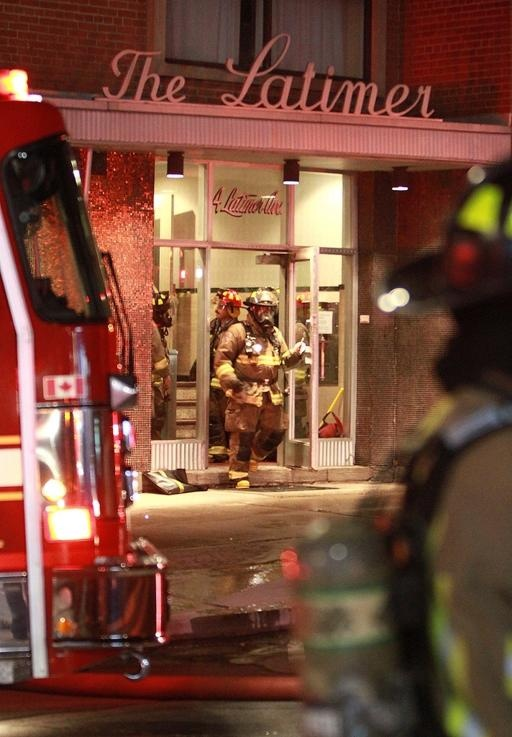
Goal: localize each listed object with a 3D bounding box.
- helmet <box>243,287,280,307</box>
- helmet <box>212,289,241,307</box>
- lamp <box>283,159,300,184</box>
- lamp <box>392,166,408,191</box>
[{"bbox_3d":[0.083,-0.986,9.637,0.374,0.276,0.313,0,0,-9],"label":"helmet"},{"bbox_3d":[-0.405,-0.986,9.976,0.321,0.158,0.238,16,4,-18],"label":"helmet"},{"bbox_3d":[0.485,-2.820,9.934,0.200,0.327,0.187,0,0,5],"label":"lamp"},{"bbox_3d":[2.119,-2.795,10.278,0.296,0.307,0.286,0,-2,9],"label":"lamp"}]
